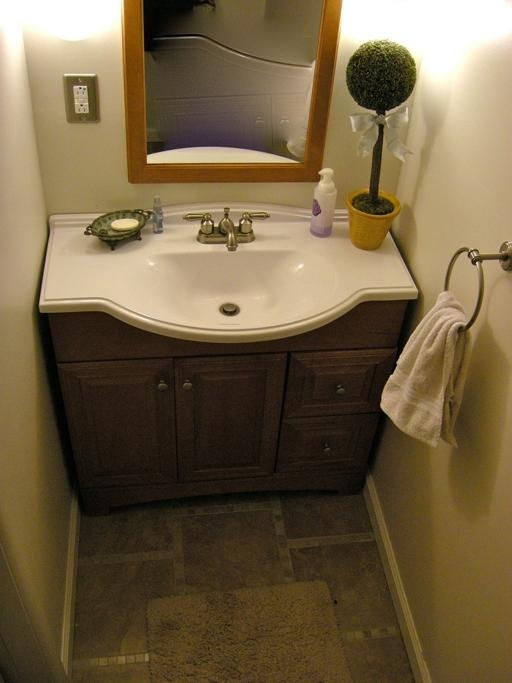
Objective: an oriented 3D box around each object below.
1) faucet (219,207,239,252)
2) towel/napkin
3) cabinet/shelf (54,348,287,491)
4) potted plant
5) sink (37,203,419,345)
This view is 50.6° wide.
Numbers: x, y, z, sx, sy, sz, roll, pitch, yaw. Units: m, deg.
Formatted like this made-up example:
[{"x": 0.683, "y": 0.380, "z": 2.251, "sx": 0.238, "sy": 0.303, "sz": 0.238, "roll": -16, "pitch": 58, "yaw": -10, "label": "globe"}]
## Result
[{"x": -0.076, "y": -0.318, "z": 1.530, "sx": 0.048, "sy": 0.081, "sz": 0.133, "roll": -1, "pitch": 49, "yaw": -5, "label": "faucet"}, {"x": 0.359, "y": 0.066, "z": 1.132, "sx": 0.117, "sy": 0.294, "sz": 0.201, "roll": 1, "pitch": 33, "yaw": -5, "label": "towel/napkin"}, {"x": -0.259, "y": 0.211, "z": 1.561, "sx": 0.436, "sy": 0.411, "sz": 0.176, "roll": -3, "pitch": 47, "yaw": -4, "label": "cabinet/shelf"}, {"x": 0.320, "y": -0.512, "z": 1.451, "sx": 0.183, "sy": 0.529, "sz": 0.305, "roll": 12, "pitch": 33, "yaw": 12, "label": "potted plant"}, {"x": -0.072, "y": -0.180, "z": 1.471, "sx": 0.986, "sy": 0.204, "sz": 0.521, "roll": -2, "pitch": 34, "yaw": -10, "label": "sink"}]
